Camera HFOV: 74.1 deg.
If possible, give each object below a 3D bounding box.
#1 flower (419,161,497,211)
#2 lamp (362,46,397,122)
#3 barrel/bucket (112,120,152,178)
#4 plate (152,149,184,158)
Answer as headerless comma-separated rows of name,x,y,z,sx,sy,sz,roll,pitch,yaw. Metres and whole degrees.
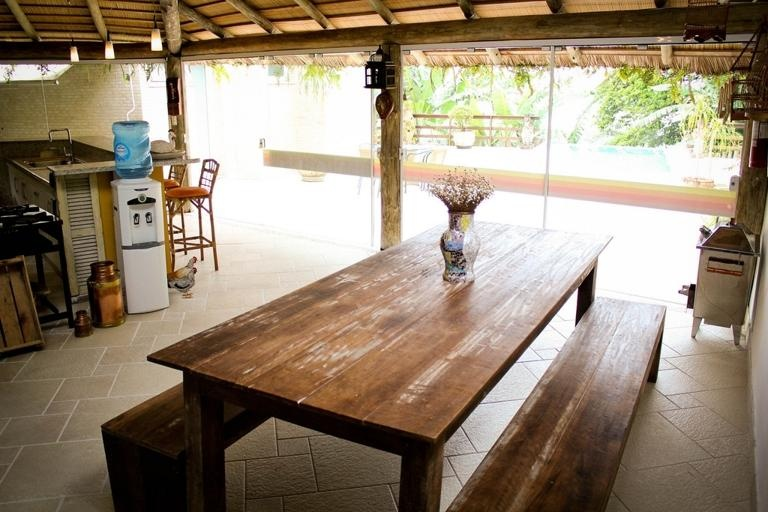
flower,0.528,-0.499,3.777,0.408,0.269,0.406,-4,-5,-27
lamp,-0.080,-2.367,6.943,0.387,0.984,0.313,8,18,32
barrel/bucket,-2.808,-1.192,5.686,0.399,0.623,0.263,-10,17,-27
plate,-2.670,-1.267,6.305,0.384,0.122,0.250,-10,16,-32
